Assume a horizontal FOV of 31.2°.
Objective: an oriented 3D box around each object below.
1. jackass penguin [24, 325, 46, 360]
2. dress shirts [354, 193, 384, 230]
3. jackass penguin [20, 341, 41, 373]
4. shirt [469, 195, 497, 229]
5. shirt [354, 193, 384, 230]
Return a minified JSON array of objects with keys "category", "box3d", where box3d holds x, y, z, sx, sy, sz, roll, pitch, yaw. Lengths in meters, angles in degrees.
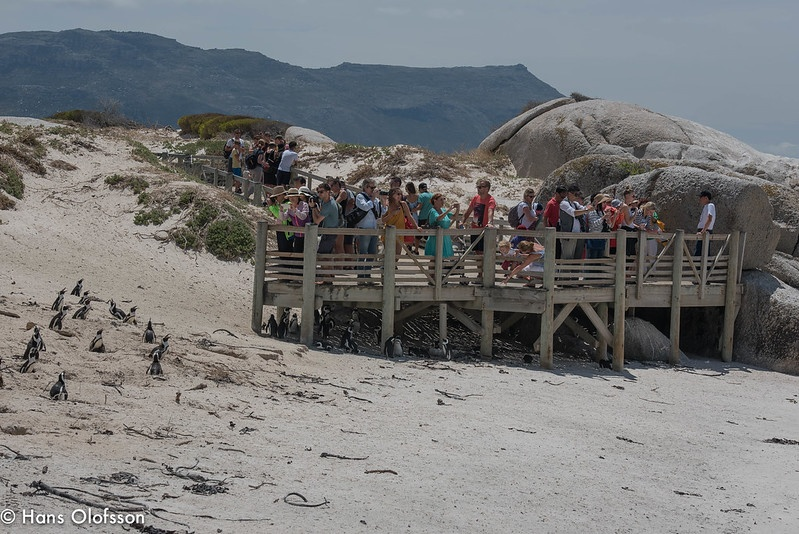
[{"category":"jackass penguin","box3d":[-9.507,2.000,37.165,0.480,0.766,0.634,21,16,27]},{"category":"dress shirts","box3d":[-0.904,-1.635,42.570,0.605,1.080,0.917,-10,-12,40]},{"category":"jackass penguin","box3d":[-9.534,2.331,36.739,0.478,0.751,0.371,4,-4,-20]},{"category":"shirt","box3d":[2.451,-1.718,43.763,0.743,1.059,1.122,2,-4,2]},{"category":"shirt","box3d":[-0.984,-1.678,42.478,0.931,1.093,0.644,4,-4,-26]}]
